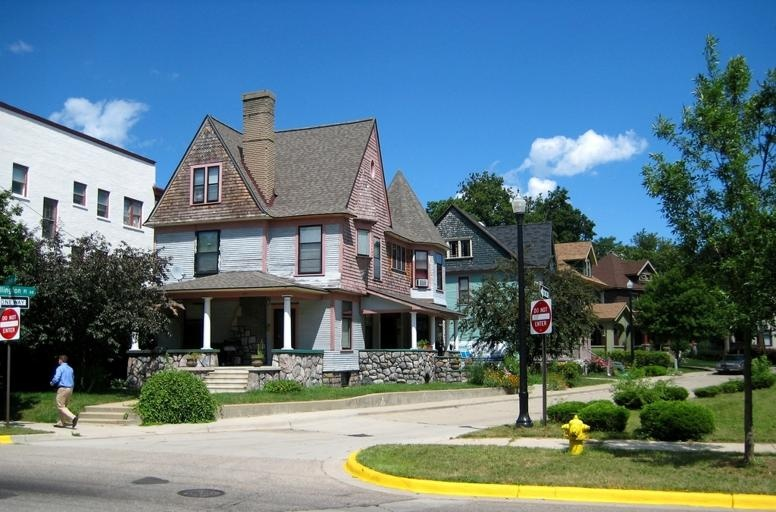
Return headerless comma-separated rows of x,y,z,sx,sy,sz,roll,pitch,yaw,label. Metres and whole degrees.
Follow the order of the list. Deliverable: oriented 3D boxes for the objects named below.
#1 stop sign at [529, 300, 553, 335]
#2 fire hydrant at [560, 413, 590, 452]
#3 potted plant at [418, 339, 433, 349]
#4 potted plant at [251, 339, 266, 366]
4.935,1.919,24.951,0.633,1.186,0.869,-2,-13,6,stop sign
5.086,4.840,21.294,1.061,1.240,1.021,0,-11,3,fire hydrant
1.947,4.741,41.345,0.653,0.460,0.647,3,-12,-16,potted plant
-6.069,4.488,35.599,0.941,1.360,0.850,0,-2,-2,potted plant
